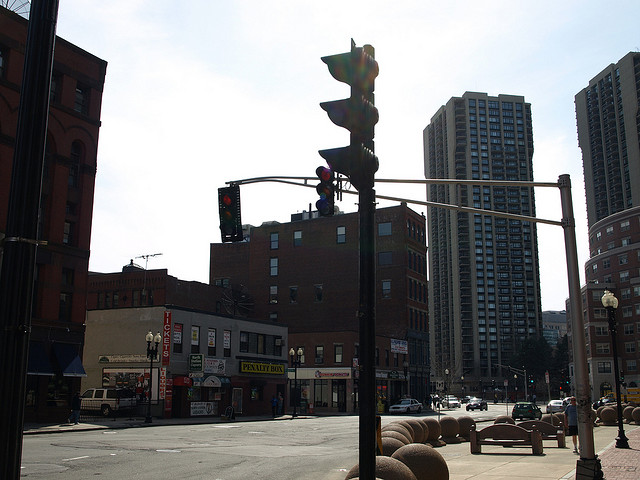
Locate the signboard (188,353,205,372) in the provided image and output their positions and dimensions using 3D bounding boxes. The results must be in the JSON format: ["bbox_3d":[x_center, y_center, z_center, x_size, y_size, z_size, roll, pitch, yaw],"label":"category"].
[{"bbox_3d":[-9.396,9.212,49.309,1.323,1.633,0.209,2,-11,-14],"label":"signboard"}]

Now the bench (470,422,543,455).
[{"bbox_3d":[6.657,7.194,23.608,2.360,1.001,2.689,-4,-8,32],"label":"bench"}]

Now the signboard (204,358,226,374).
[{"bbox_3d":[-8.387,9.939,51.903,0.450,1.156,2.120,-2,-12,26],"label":"signboard"}]

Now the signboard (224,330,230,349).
[{"bbox_3d":[-7.783,8.264,54.497,0.130,1.382,0.784,-6,-18,19],"label":"signboard"}]

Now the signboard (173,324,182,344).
[{"bbox_3d":[-10.653,6.995,48.968,0.174,1.401,0.947,-6,-18,18],"label":"signboard"}]

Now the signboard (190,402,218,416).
[{"bbox_3d":[-8.852,12.837,49.734,0.095,1.098,3.198,-9,-20,27],"label":"signboard"}]

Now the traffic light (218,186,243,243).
[{"bbox_3d":[-2.546,-0.789,18.654,0.694,1.605,0.596,2,-17,-10],"label":"traffic light"}]

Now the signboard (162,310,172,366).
[{"bbox_3d":[-11.097,7.072,47.276,0.519,3.995,0.553,4,-17,-15],"label":"signboard"}]

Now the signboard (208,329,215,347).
[{"bbox_3d":[-8.774,7.869,52.540,0.161,1.803,1.275,-4,-8,21],"label":"signboard"}]
